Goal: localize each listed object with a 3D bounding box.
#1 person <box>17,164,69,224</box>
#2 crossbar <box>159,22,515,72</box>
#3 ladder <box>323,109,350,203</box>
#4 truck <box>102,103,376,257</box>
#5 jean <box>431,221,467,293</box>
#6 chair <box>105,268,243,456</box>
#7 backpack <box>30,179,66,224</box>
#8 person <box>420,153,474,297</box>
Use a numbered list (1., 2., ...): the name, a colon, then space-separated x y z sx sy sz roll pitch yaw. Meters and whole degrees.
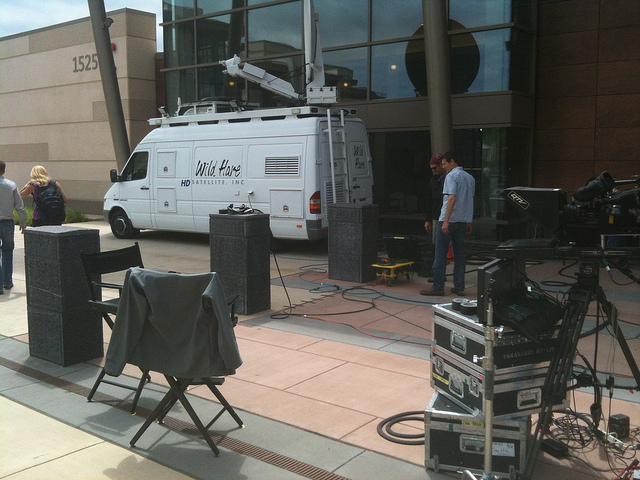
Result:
1. person: -5.170 -0.860 10.346 0.794 1.026 1.093 -2 17 -46
2. crossbar: 0.032 -5.347 15.456 10.549 0.227 0.234 6 12 32
3. ladder: 0.395 -1.873 12.418 0.382 2.085 0.733 6 12 33
4. truck: -2.701 -1.716 14.939 7.432 3.608 2.593 3 10 29
5. jean: 2.178 0.091 9.147 0.544 1.733 0.469 -5 27 2
6. chair: -1.308 1.046 5.001 1.072 1.555 1.125 -7 12 -29
7. backpack: -4.888 -0.695 10.323 0.459 0.740 0.758 16 -12 -1
8. person: 2.173 -0.206 9.090 0.757 2.373 0.423 -2 10 -8
